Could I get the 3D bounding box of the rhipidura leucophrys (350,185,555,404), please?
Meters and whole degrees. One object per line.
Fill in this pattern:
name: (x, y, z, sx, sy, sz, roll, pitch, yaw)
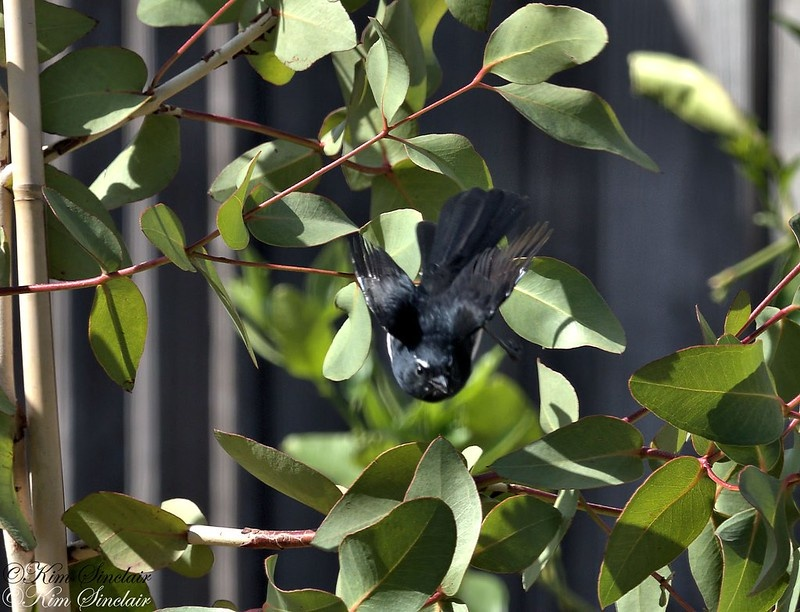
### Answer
rhipidura leucophrys: (0.055, -0.023, 1.964, 0.226, 0.127, 0.230, 13, -50, 13)
